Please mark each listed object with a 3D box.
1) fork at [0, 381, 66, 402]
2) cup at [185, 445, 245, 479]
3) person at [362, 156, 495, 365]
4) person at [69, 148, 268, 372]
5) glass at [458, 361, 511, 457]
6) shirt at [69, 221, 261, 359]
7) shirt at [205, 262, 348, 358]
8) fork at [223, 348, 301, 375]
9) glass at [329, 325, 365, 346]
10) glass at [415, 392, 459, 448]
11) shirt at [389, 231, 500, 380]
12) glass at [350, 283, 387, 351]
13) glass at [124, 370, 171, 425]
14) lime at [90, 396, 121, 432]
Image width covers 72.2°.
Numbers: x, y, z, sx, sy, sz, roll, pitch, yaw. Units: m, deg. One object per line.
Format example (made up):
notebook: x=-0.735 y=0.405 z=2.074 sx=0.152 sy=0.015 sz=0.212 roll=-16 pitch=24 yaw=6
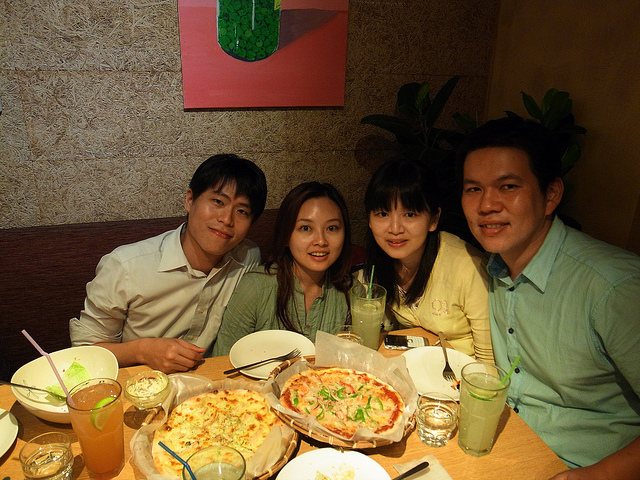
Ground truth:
fork: x=-1.134 y=0.603 z=1.741 sx=0.335 sy=0.051 sz=0.055 roll=10 pitch=-21 yaw=-1
cup: x=-0.343 y=0.742 z=1.449 sx=0.198 sy=0.060 sz=0.118 roll=0 pitch=17 yaw=-3
person: x=0.586 y=0.185 z=2.620 sx=0.838 sy=1.198 sz=0.582 roll=-3 pitch=11 yaw=20
person: x=-0.935 y=0.125 z=2.589 sx=1.084 sy=1.192 sz=0.638 roll=16 pitch=17 yaw=-46
glass: x=0.583 y=0.627 z=1.690 sx=0.181 sy=0.354 sz=0.196 roll=0 pitch=15 yaw=0
shirt: x=-0.875 y=0.279 z=2.519 sx=1.015 sy=0.689 sz=0.270 roll=-5 pitch=18 yaw=-21
shirt: x=-0.202 y=0.300 z=2.822 sx=0.787 sy=0.562 sz=0.659 roll=1 pitch=15 yaw=-2
fork: x=-0.249 y=0.560 z=1.996 sx=0.362 sy=0.049 sz=0.089 roll=-8 pitch=19 yaw=-28
glass: x=0.139 y=0.464 z=2.089 sx=0.151 sy=0.077 sz=0.162 roll=0 pitch=17 yaw=-4
glass: x=0.446 y=0.687 z=1.751 sx=0.165 sy=0.171 sz=0.191 roll=3 pitch=22 yaw=6
shirt: x=0.644 y=0.339 z=2.438 sx=0.418 sy=0.631 sz=0.428 roll=1 pitch=20 yaw=-8
glass: x=0.220 y=0.345 z=2.159 sx=0.145 sy=0.351 sz=0.181 roll=-4 pitch=18 yaw=-17
glass: x=-0.679 y=0.595 z=1.761 sx=0.168 sy=0.145 sz=0.172 roll=-15 pitch=30 yaw=-28
lime: x=-0.757 y=0.593 z=1.499 sx=0.070 sy=0.030 sz=0.140 roll=4 pitch=21 yaw=-9
